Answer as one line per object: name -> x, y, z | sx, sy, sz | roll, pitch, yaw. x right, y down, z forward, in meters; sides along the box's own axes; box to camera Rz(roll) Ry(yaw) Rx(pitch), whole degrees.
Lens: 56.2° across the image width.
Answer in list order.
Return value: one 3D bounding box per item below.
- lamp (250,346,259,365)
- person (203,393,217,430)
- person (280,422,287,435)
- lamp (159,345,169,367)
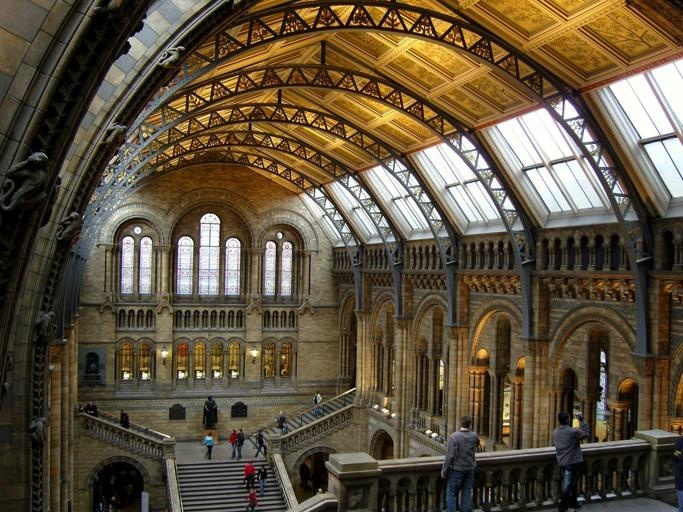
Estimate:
lamp -> -6.091, 6.839, 44.683 | 0.600, 1.182, 0.357 | -3, -16, 4
person -> -8.756, 10.315, 42.551 | 0.858, 2.171, 1.095 | 2, -16, -13
person -> -3.762, 10.955, 41.033 | 0.392, 0.356, 0.882 | 29, 6, -3
lamp -> -11.866, 6.551, 42.780 | 0.582, 1.305, 0.326 | 4, -17, -19
